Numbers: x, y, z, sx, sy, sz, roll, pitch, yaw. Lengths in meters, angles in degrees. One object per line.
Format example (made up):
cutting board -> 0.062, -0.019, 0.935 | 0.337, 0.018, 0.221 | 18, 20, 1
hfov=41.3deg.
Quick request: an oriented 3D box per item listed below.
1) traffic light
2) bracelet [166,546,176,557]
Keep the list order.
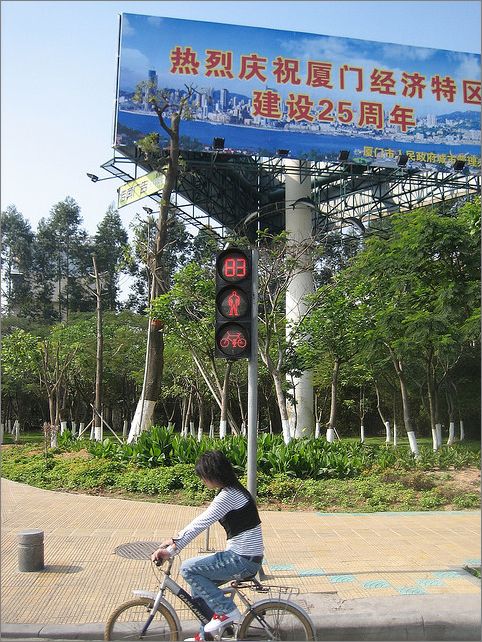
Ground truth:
traffic light -> -0.068, -0.157, 5.743 | 0.337, 1.005, 0.217 | 0, -5, 3
bracelet -> -0.408, 1.353, 3.760 | 0.047, 0.062, 0.061 | 1, -6, -22
